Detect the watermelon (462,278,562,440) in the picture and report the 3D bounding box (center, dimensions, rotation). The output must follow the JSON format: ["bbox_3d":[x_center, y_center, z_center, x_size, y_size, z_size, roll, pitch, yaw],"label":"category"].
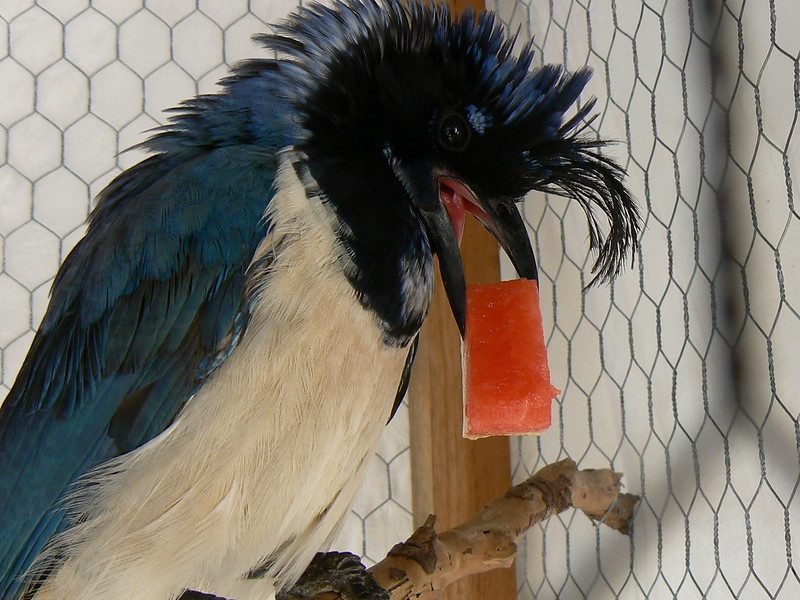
[{"bbox_3d":[0.247,0.064,4.459,0.231,0.243,0.375,-11,-63,-10],"label":"watermelon"}]
